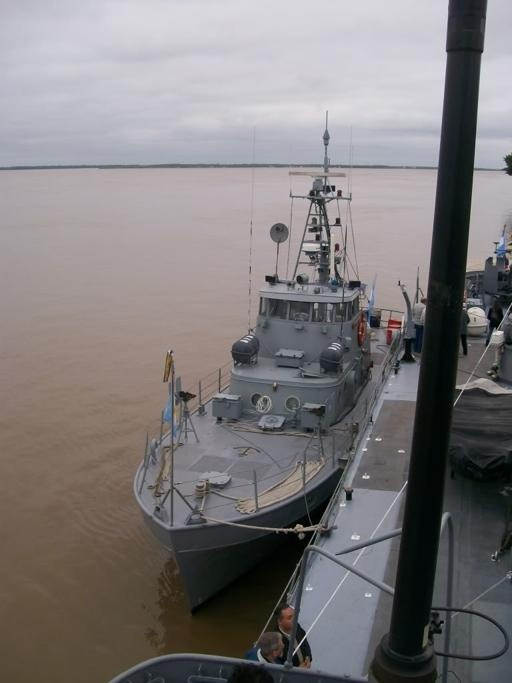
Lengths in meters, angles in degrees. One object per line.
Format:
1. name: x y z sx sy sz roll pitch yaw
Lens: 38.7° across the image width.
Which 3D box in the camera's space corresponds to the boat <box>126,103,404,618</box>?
1. boat: 1.479 0.185 12.927 2.917 6.212 10.044 10 31 21
